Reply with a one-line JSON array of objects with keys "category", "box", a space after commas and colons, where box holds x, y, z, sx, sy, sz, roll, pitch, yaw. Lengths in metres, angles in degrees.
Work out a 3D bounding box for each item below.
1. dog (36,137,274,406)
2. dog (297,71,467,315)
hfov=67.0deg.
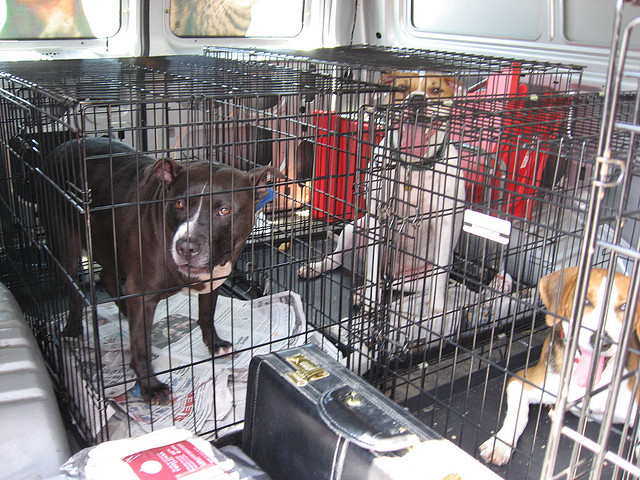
[{"category": "dog", "box": [-0.728, 0.057, 2.096, 1.460, 0.977, 0.491, 22, 27, 39]}, {"category": "dog", "box": [0.388, -0.220, 2.468, 0.669, 1.209, 1.487, 5, 20, 16]}]
